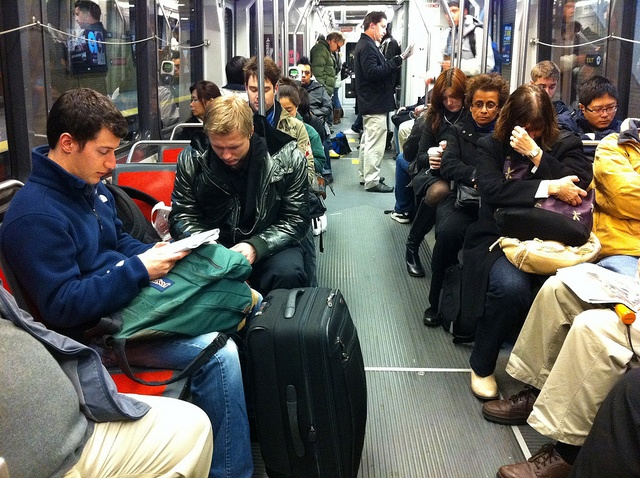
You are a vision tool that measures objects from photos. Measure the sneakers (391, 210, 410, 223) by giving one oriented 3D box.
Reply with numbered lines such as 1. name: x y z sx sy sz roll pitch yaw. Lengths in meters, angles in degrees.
1. sneakers: 1.146 -0.320 6.524 0.107 0.142 0.293 -3 17 -21

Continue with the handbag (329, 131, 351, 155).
1. handbag: 0.430 -2.187 10.430 0.485 0.528 0.405 1 18 -4

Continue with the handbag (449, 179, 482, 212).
1. handbag: 1.286 -0.391 3.980 0.211 0.232 0.080 0 -20 -12

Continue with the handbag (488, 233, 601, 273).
1. handbag: 1.518 0.104 3.027 0.418 0.167 0.334 0 10 40

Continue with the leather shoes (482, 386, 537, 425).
1. leather shoes: 1.231 1.084 3.024 0.411 0.197 0.161 2 8 5
